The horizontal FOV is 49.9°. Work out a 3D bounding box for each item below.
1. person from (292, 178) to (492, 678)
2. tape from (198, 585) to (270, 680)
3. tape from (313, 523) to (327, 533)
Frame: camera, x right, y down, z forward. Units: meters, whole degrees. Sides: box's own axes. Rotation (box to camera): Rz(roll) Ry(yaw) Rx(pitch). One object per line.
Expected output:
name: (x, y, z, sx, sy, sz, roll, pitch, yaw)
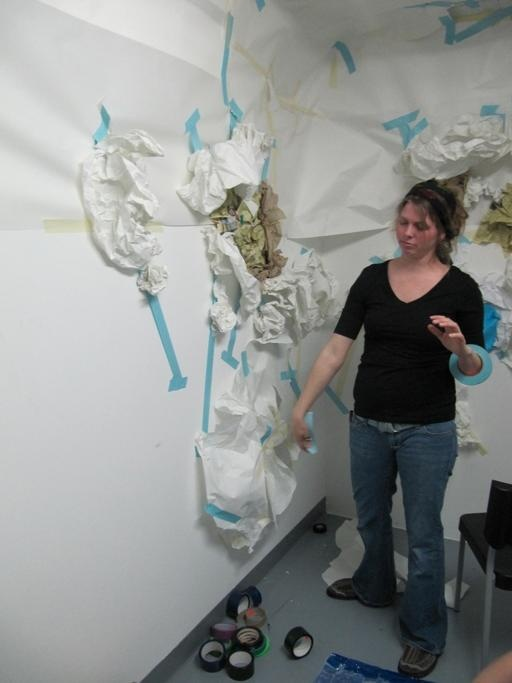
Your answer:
person: (0.432, 0.243, 1.744, 0.398, 1.443, 0.492, -11, 14, -43)
tape: (-0.049, 0.924, 1.793, 0.193, 0.107, 0.369, 1, 9, 17)
tape: (0.300, 0.841, 2.478, 0.037, 0.020, 0.044, 2, -11, -27)
